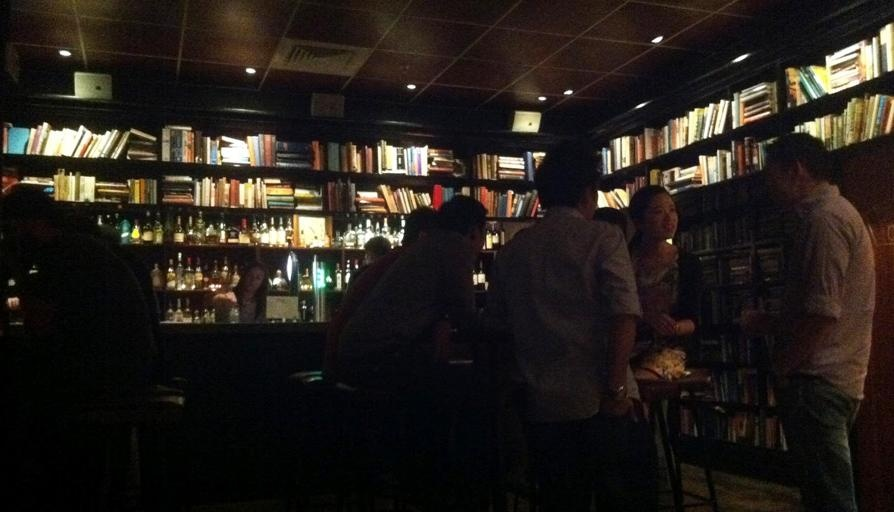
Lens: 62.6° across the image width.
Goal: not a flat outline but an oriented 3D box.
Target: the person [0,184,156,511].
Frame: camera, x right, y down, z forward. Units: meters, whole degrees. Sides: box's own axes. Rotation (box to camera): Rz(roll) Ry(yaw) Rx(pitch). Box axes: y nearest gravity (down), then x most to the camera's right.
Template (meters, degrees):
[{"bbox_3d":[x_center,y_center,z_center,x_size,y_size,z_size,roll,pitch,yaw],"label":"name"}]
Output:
[{"bbox_3d":[-2.114,0.575,4.286,0.758,1.920,0.849,2,-6,-13],"label":"person"}]

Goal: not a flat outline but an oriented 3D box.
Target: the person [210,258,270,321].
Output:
[{"bbox_3d":[-1.916,0.326,6.782,0.507,0.699,0.415,9,-16,-31],"label":"person"}]

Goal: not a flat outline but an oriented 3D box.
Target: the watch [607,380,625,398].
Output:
[{"bbox_3d":[0.880,0.686,3.793,0.081,0.052,0.073,1,-7,-1],"label":"watch"}]
